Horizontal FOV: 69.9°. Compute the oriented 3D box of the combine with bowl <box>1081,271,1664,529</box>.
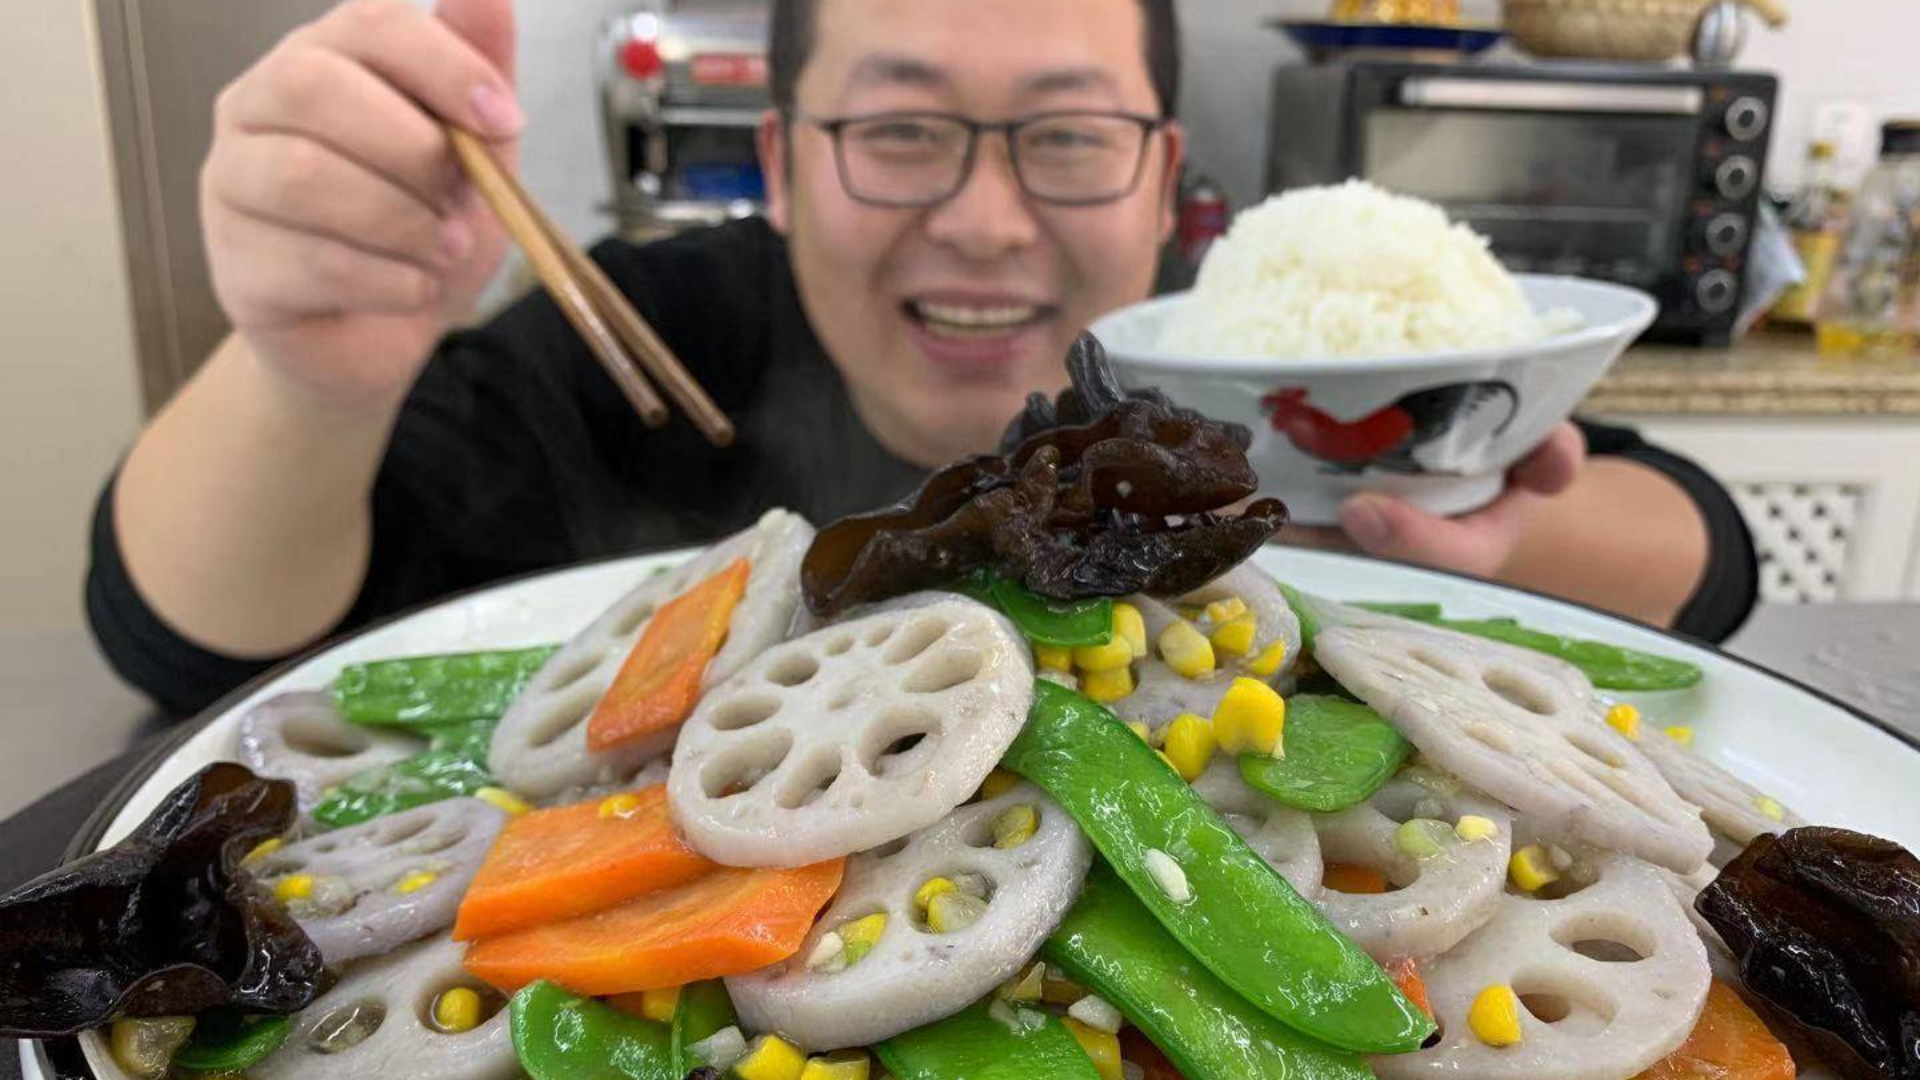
[{"bbox_3d":[0.713,-0.253,2.424,0.962,0.336,0.928,-8,15,-10],"label":"combine with bowl"}]

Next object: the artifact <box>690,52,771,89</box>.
[{"bbox_3d":[-0.416,-0.850,2.478,0.140,0.068,0.031,-4,2,-10],"label":"artifact"}]

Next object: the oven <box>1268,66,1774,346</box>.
[{"bbox_3d":[1.177,-0.628,2.956,0.969,0.588,0.536,0,25,-2],"label":"oven"}]
